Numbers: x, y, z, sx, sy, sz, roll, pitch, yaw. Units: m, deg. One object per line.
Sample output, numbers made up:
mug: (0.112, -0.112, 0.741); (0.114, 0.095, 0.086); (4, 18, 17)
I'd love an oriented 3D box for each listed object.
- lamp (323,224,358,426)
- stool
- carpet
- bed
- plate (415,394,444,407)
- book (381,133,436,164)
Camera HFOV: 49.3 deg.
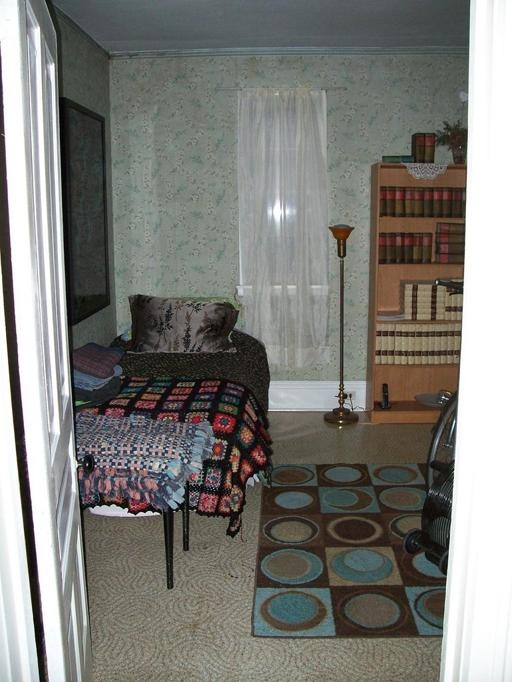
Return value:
lamp: (0.693, -0.146, 4.547); (0.283, 1.571, 0.601); (0, 10, 8)
stool: (-0.340, 0.722, 2.641); (0.800, 0.600, 0.792); (3, 15, 5)
carpet: (0.508, 0.971, 2.846); (0.999, 0.042, 1.566); (-1, 10, 2)
bed: (-0.526, 0.482, 3.033); (0.817, 0.325, 1.380); (2, 16, 0)
plate: (1.302, 0.436, 4.219); (0.177, 0.052, 0.309); (1, 10, 14)
book: (1.214, -1.517, 4.421); (0.402, 0.264, 0.417); (2, 11, 18)
